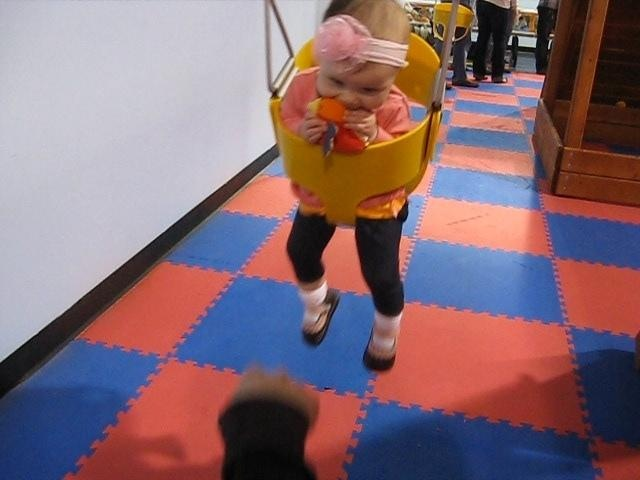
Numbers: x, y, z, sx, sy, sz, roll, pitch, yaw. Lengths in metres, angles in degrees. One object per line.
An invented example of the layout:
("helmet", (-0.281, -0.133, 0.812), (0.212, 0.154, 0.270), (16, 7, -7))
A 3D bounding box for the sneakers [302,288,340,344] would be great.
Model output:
("sneakers", (-0.018, 0.282, 1.821), (0.079, 0.268, 0.095), (14, -5, 42))

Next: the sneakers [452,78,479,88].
("sneakers", (1.572, -1.683, 5.283), (0.287, 0.133, 0.118), (1, 30, 5))

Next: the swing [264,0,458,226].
("swing", (0.117, -0.438, 1.556), (0.587, 0.642, 0.539), (0, 29, -9))
